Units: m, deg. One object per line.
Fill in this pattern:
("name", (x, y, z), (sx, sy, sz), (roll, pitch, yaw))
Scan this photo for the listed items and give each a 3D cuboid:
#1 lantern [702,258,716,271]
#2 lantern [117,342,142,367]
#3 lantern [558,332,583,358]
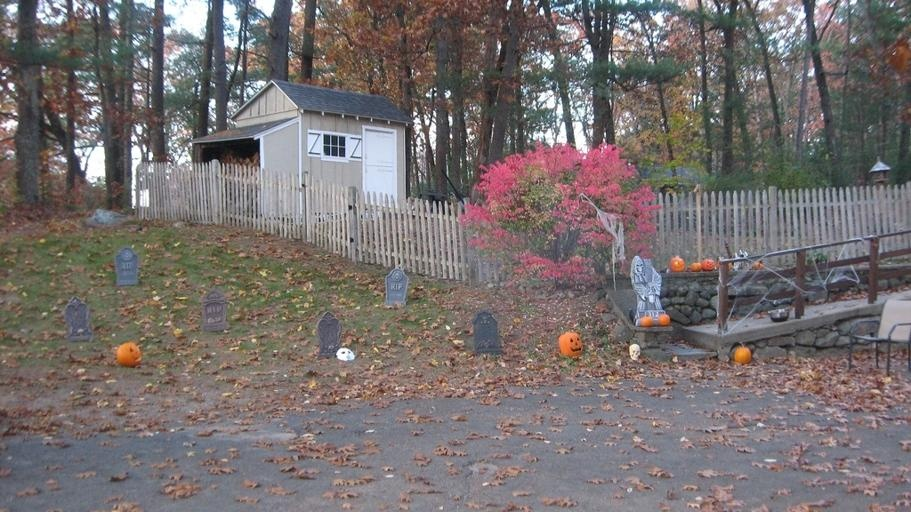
("lantern", (9.477, 0.383, 34.869), (0.419, 0.423, 0.427), (-14, -47, 46))
("lantern", (-11.250, 3.375, 32.184), (0.840, 0.751, 0.823), (-9, 20, -28))
("lantern", (3.968, 3.162, 32.807), (0.835, 0.989, 0.835), (-4, 2, 41))
